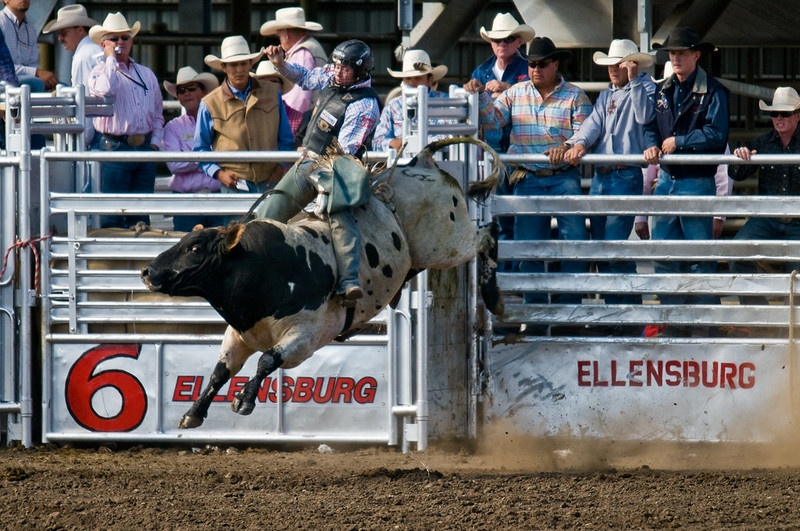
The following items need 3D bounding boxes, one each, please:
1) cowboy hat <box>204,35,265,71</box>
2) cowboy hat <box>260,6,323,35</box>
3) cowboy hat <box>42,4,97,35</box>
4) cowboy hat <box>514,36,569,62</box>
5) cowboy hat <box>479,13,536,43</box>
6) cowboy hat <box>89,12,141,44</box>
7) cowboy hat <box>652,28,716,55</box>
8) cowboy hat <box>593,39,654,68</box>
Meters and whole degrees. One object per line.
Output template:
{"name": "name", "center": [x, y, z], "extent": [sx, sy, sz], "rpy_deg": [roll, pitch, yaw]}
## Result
{"name": "cowboy hat", "center": [-1.985, -2.561, 24.185], "extent": [0.773, 0.337, 0.861], "rpy_deg": [-9, -5, 9]}
{"name": "cowboy hat", "center": [-1.255, -3.044, 25.070], "extent": [0.569, 0.235, 0.507], "rpy_deg": [-3, 0, -17]}
{"name": "cowboy hat", "center": [-4.185, -3.228, 25.759], "extent": [0.583, 0.244, 0.434], "rpy_deg": [-14, 5, -43]}
{"name": "cowboy hat", "center": [1.757, -2.667, 24.694], "extent": [0.543, 0.269, 0.652], "rpy_deg": [-1, -5, 15]}
{"name": "cowboy hat", "center": [1.377, -2.906, 24.882], "extent": [0.414, 0.212, 0.509], "rpy_deg": [-3, -12, 12]}
{"name": "cowboy hat", "center": [-3.556, -3.031, 24.846], "extent": [0.467, 0.229, 0.541], "rpy_deg": [-7, -5, -16]}
{"name": "cowboy hat", "center": [3.436, -2.617, 23.579], "extent": [0.482, 0.202, 0.569], "rpy_deg": [-1, -4, 43]}
{"name": "cowboy hat", "center": [2.751, -2.602, 24.579], "extent": [0.702, 0.328, 0.745], "rpy_deg": [1, 5, 5]}
